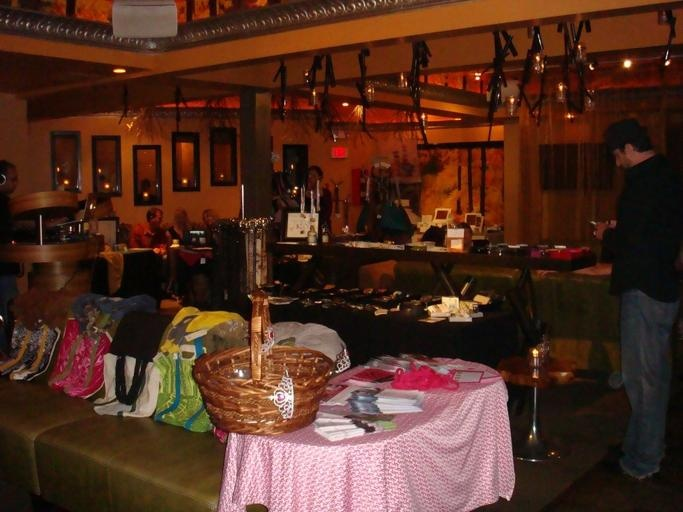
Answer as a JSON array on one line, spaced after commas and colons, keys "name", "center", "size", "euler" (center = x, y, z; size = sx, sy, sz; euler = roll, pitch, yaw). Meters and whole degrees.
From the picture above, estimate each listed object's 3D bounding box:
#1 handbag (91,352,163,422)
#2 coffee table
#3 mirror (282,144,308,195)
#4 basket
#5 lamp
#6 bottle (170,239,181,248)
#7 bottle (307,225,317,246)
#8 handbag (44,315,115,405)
[{"name": "handbag", "center": [-1.286, 0.744, 3.358], "size": [0.439, 0.366, 0.235], "euler": [3, 11, 23]}, {"name": "coffee table", "center": [1.259, 1.007, 3.751], "size": [0.438, 0.540, 0.423], "euler": [3, -6, -8]}, {"name": "mirror", "center": [-1.023, -2.012, 12.575], "size": [0.252, 0.902, 0.747], "euler": [4, 13, 30]}, {"name": "basket", "center": [-0.337, 0.424, 2.332], "size": [0.542, 0.465, 0.499], "euler": [-2, 7, 15]}, {"name": "lamp", "center": [1.575, -1.937, 6.063], "size": [2.119, 0.540, 2.101], "euler": [-9, 5, -35]}, {"name": "bottle", "center": [-2.507, -0.177, 8.562], "size": [0.163, 0.122, 0.165], "euler": [2, 3, 0]}, {"name": "bottle", "center": [-0.283, -0.208, 5.426], "size": [0.100, 0.157, 0.202], "euler": [-3, 12, -3]}, {"name": "handbag", "center": [-1.643, 0.709, 3.842], "size": [0.469, 0.509, 0.200], "euler": [9, -11, 29]}]
